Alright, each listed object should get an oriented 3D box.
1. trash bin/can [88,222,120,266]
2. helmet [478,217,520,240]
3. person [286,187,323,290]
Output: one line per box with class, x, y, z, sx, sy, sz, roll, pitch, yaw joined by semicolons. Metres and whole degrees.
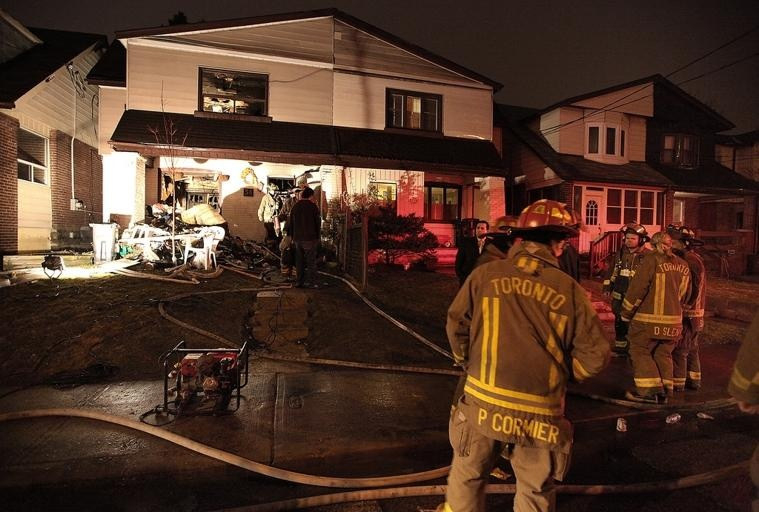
trash bin/can;-6.454;-0.314;14.719;0.982;1.276;0.930;1;1;-27
helmet;1.972;-0.462;9.825;0.552;0.235;0.347;1;0;-17
person;-1.665;-0.419;13.296;0.690;2.195;0.446;2;2;-7
